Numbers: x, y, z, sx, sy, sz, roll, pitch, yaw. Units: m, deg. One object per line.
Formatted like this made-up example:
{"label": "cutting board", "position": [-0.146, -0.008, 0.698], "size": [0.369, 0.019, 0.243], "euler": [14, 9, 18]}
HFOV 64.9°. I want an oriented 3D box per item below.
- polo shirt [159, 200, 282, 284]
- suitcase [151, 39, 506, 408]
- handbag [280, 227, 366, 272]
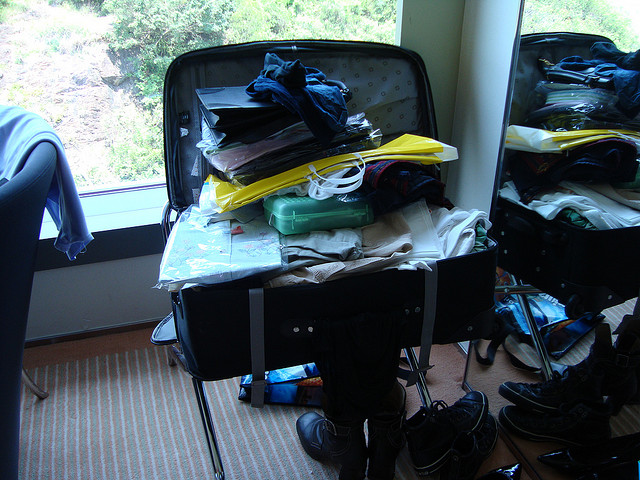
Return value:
{"label": "polo shirt", "position": [-0.307, -0.012, 1.595], "size": [0.348, 0.169, 0.449], "euler": [-7, 15, -6]}
{"label": "suitcase", "position": [0.040, -0.068, 1.662], "size": [1.127, 1.230, 0.768], "euler": [-6, 29, -8]}
{"label": "handbag", "position": [-0.001, 0.027, 1.516], "size": [0.251, 0.078, 0.161], "euler": [-7, 15, -5]}
